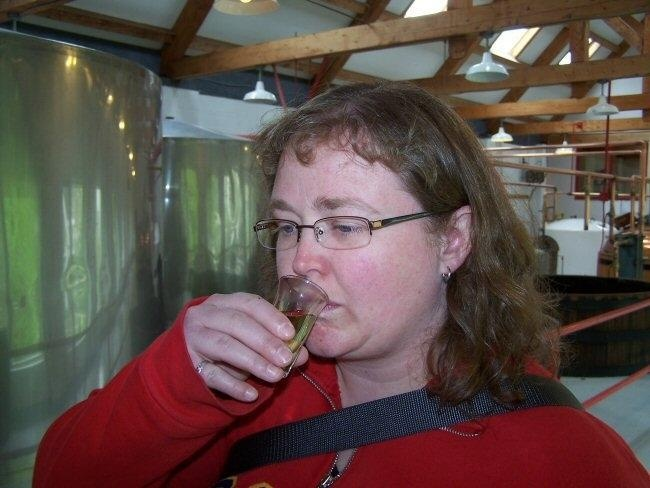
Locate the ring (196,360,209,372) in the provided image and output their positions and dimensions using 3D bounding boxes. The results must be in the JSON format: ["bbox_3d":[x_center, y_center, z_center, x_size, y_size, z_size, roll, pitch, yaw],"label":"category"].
[{"bbox_3d":[-0.287,0.279,1.174,0.016,0.027,0.010,20,-18,-24],"label":"ring"}]

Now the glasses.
[{"bbox_3d":[0.059,-0.030,1.301,0.421,0.115,0.124,3,4,12],"label":"glasses"}]

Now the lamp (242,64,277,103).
[{"bbox_3d":[-0.885,-2.196,6.922,0.462,0.482,0.448,5,23,5],"label":"lamp"}]
